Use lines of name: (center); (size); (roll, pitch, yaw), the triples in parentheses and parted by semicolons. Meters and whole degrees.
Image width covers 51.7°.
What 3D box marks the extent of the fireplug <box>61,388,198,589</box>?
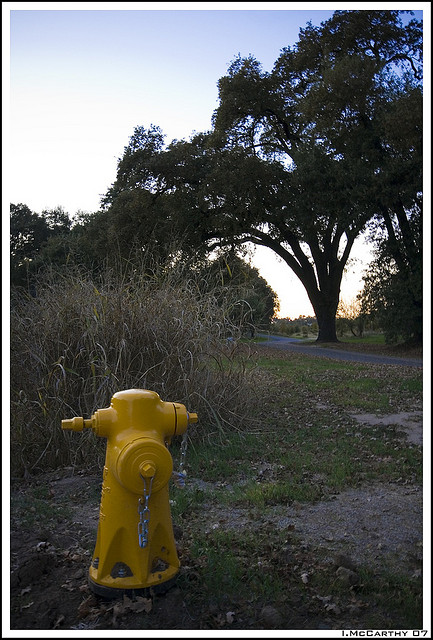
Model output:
fireplug: (-0.370, 0.769, 2.426); (0.812, 1.288, 0.793); (0, 0, -10)
